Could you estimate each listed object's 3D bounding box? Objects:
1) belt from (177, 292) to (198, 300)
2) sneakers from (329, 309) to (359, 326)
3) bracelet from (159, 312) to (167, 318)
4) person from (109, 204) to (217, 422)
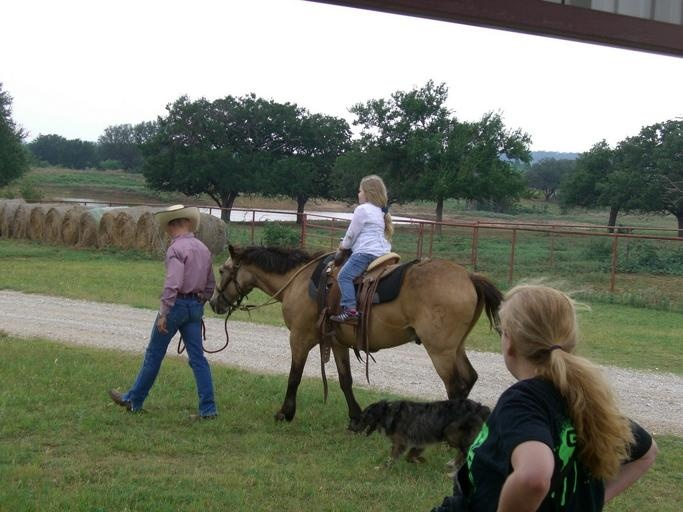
[{"bbox_3d":[-1.987,0.512,9.077,0.276,0.095,0.046,-2,8,-35],"label":"belt"},{"bbox_3d":[0.051,0.793,9.141,0.389,0.215,0.155,6,4,27],"label":"sneakers"},{"bbox_3d":[-2.276,0.743,8.899,0.067,0.056,0.071,0,6,-9],"label":"bracelet"},{"bbox_3d":[-2.200,0.711,9.166,1.156,2.707,0.787,1,6,-12],"label":"person"}]
